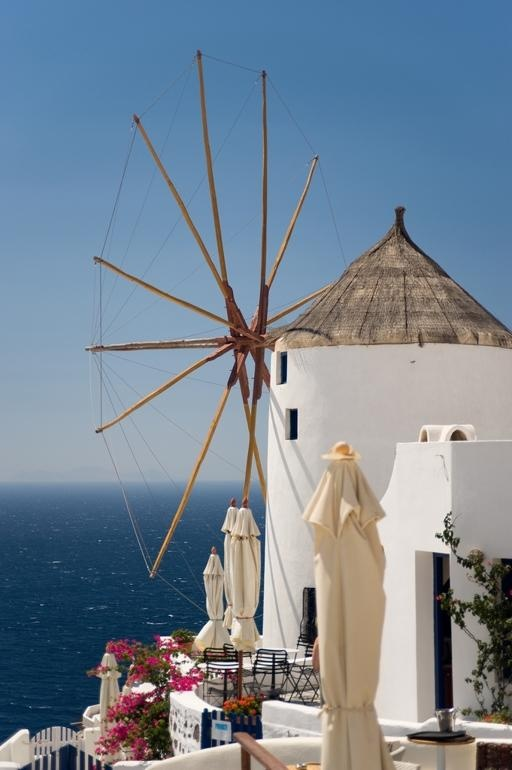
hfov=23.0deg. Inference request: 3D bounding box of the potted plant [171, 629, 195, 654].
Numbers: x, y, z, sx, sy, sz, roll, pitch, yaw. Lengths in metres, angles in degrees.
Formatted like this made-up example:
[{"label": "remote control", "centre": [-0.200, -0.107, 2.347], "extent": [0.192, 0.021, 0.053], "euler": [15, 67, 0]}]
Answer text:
[{"label": "potted plant", "centre": [-1.563, 5.556, 27.220], "extent": [0.671, 0.637, 0.587], "euler": [1, -5, -2]}]
